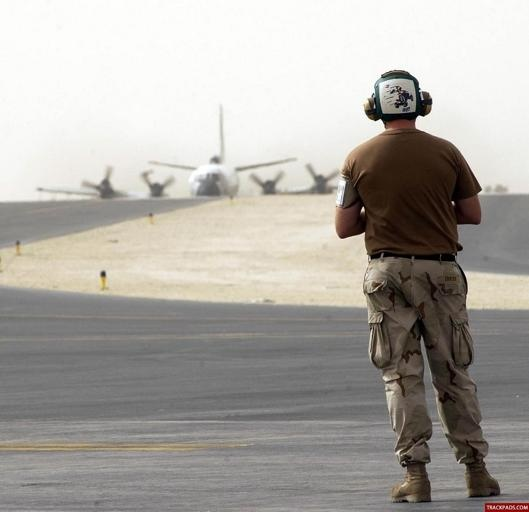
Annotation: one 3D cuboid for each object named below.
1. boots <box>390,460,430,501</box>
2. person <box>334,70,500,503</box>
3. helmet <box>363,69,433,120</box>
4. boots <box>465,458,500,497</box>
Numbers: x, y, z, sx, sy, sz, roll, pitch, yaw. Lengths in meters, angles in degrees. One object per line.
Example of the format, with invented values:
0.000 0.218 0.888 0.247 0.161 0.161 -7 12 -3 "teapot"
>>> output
0.757 1.180 6.632 0.206 0.180 0.199 -1 -2 4 "boots"
0.815 0.276 6.931 0.799 1.992 0.642 -1 -2 1 "person"
0.776 -0.859 7.357 0.410 0.227 0.443 -5 -21 2 "helmet"
1.141 1.167 6.681 0.178 0.166 0.185 -2 -2 8 "boots"
